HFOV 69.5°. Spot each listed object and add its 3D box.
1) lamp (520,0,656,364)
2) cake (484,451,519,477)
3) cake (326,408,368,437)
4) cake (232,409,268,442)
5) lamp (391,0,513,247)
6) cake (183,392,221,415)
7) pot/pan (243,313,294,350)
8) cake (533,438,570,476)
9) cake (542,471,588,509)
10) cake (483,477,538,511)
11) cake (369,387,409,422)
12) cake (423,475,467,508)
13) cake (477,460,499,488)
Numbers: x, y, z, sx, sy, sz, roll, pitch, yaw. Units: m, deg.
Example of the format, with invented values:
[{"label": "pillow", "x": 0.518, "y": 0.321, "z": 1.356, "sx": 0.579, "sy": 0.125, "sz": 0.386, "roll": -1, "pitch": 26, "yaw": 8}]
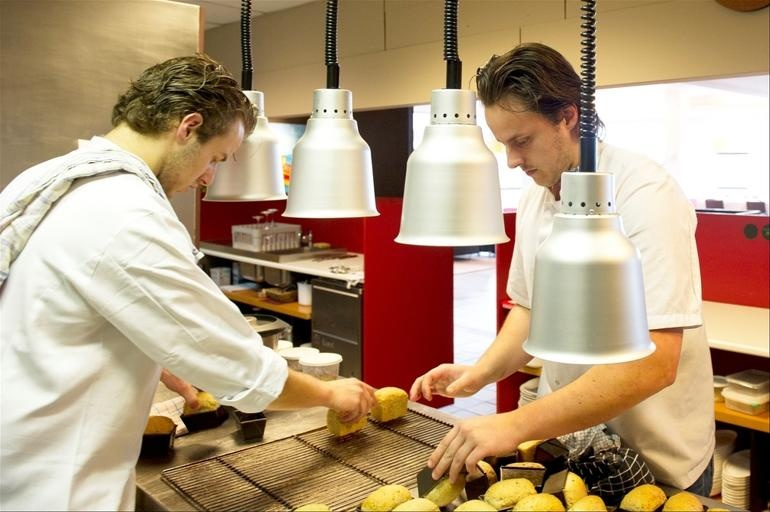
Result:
[{"label": "lamp", "x": 0.411, "y": -0.130, "z": 1.131, "sx": 0.297, "sy": 0.788, "sz": 0.201, "roll": -12, "pitch": 10, "yaw": -37}, {"label": "cake", "x": 0.350, "y": 0.609, "z": 1.643, "sx": 0.074, "sy": 0.053, "sz": 0.070, "roll": -3, "pitch": 2, "yaw": -25}, {"label": "cake", "x": -0.144, "y": 0.579, "z": 1.980, "sx": 0.132, "sy": 0.096, "sz": 0.107, "roll": 12, "pitch": 1, "yaw": -43}, {"label": "cake", "x": -0.463, "y": 0.593, "z": 1.922, "sx": 0.106, "sy": 0.078, "sz": 0.121, "roll": 1, "pitch": -2, "yaw": -24}, {"label": "lamp", "x": 0.155, "y": -0.223, "z": 1.400, "sx": 0.276, "sy": 0.395, "sz": 0.136, "roll": -4, "pitch": 8, "yaw": 9}, {"label": "cake", "x": -0.658, "y": 0.539, "z": 2.003, "sx": 0.136, "sy": 0.038, "sz": 0.148, "roll": 1, "pitch": 3, "yaw": 11}, {"label": "pot/pan", "x": -0.523, "y": 0.334, "z": 2.509, "sx": 0.223, "sy": 0.187, "sz": 0.156, "roll": 1, "pitch": 2, "yaw": -15}, {"label": "cake", "x": 0.492, "y": 0.579, "z": 1.640, "sx": 0.067, "sy": 0.062, "sz": 0.118, "roll": -18, "pitch": -14, "yaw": -6}, {"label": "cake", "x": 0.482, "y": 0.621, "z": 1.479, "sx": 0.093, "sy": 0.049, "sz": 0.076, "roll": -19, "pitch": 24, "yaw": -4}, {"label": "cake", "x": 0.326, "y": 0.619, "z": 1.469, "sx": 0.075, "sy": 0.045, "sz": 0.095, "roll": -10, "pitch": -2, "yaw": 40}, {"label": "cake", "x": 0.014, "y": 0.543, "z": 2.009, "sx": 0.147, "sy": 0.116, "sz": 0.085, "roll": -4, "pitch": 5, "yaw": -41}, {"label": "cake", "x": 0.175, "y": 0.663, "z": 1.551, "sx": 0.110, "sy": 0.065, "sz": 0.075, "roll": -30, "pitch": 0, "yaw": -11}, {"label": "cake", "x": 0.302, "y": 0.632, "z": 1.629, "sx": 0.064, "sy": 0.054, "sz": 0.064, "roll": -27, "pitch": 2, "yaw": 6}]
